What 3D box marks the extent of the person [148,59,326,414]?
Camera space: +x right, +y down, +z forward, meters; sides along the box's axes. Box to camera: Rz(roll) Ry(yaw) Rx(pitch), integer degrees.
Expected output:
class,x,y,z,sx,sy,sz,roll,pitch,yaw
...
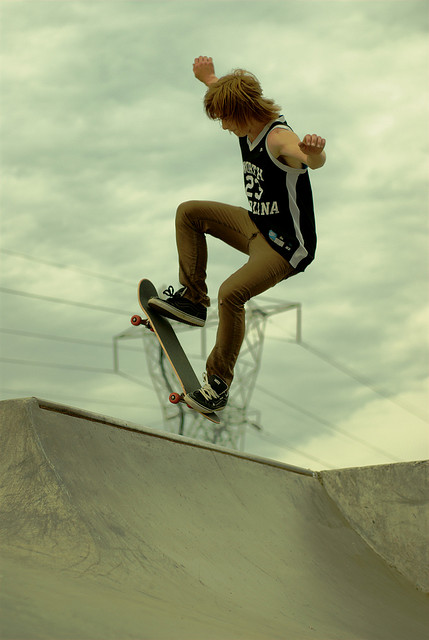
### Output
class,x,y,z,sx,sy,sz,roll,pitch,yaw
person,0.167,-0.473,4.554,1.156,2.212,0.510,1,15,29
